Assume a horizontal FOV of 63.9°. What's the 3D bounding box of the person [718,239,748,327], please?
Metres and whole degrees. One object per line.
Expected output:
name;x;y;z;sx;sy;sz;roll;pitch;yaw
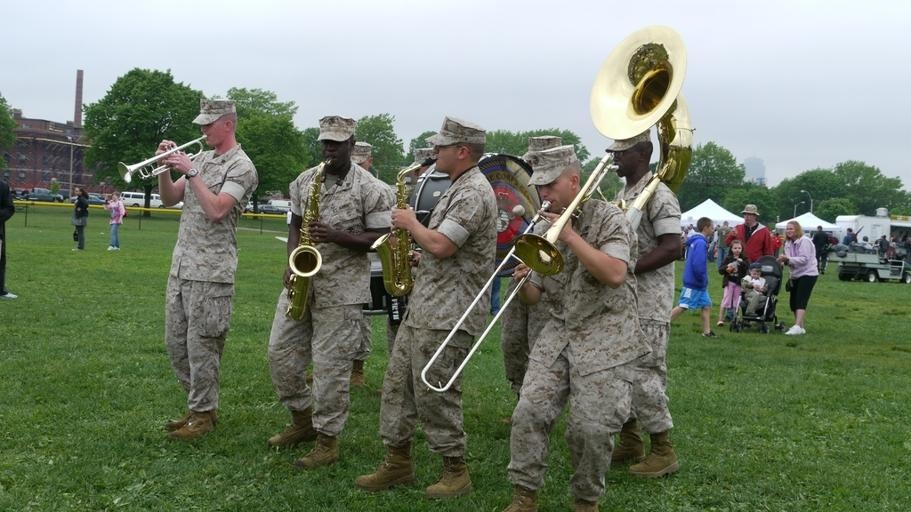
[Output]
person;6.070;0.541;16.126;0.674;1.704;0.739;0;0;5

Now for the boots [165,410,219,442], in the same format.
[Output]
boots;-3.395;2.142;9.418;0.601;0.331;0.282;5;4;-18

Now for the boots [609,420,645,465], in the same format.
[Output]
boots;2.134;2.370;9.420;0.597;0.479;0.265;-4;-13;-5

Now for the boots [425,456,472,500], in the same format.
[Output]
boots;-0.077;2.574;8.594;0.546;0.444;0.238;-9;-2;-26

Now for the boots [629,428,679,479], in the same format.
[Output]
boots;2.420;2.422;9.052;0.666;0.549;0.282;-11;1;-8

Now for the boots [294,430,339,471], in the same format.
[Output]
boots;-1.699;2.364;9.011;0.242;0.399;0.624;1;1;44

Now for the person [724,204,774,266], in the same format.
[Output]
person;6.641;-0.439;16.332;1.048;1.603;0.734;1;0;-9

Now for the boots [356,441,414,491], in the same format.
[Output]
boots;-0.872;2.481;8.750;0.789;0.574;0.308;3;-8;-22

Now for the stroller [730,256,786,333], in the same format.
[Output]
stroller;6.565;0.804;15.907;1.086;1.658;0.876;-1;0;28

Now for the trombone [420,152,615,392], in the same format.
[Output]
trombone;0.978;-0.036;7.554;0.612;0.531;3.334;18;-12;7

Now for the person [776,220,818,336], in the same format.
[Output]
person;7.188;0.459;15.631;1.105;2.283;0.790;2;2;3
